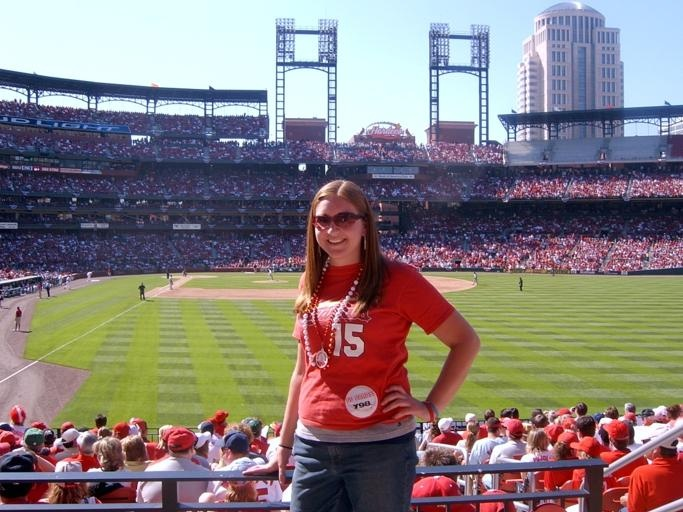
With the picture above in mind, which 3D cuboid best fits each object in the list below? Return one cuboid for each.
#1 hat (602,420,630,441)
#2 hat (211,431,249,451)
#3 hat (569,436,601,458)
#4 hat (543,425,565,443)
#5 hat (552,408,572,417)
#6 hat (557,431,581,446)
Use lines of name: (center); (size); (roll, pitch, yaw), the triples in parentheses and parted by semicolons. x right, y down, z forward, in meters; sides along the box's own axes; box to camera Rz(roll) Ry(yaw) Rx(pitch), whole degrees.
hat: (6.383, 4.002, 18.827); (0.510, 0.300, 0.670); (-8, 16, 11)
hat: (-2.356, 3.910, 17.230); (0.789, 0.333, 0.499); (6, 7, 39)
hat: (5.587, 4.348, 18.495); (0.541, 0.310, 0.699); (-3, 0, -14)
hat: (5.482, 4.534, 20.848); (0.571, 0.228, 0.683); (-1, 12, 12)
hat: (6.443, 4.587, 23.550); (0.435, 0.240, 0.572); (11, -8, 3)
hat: (5.318, 4.316, 19.061); (0.448, 0.254, 0.614); (-3, 2, 23)
